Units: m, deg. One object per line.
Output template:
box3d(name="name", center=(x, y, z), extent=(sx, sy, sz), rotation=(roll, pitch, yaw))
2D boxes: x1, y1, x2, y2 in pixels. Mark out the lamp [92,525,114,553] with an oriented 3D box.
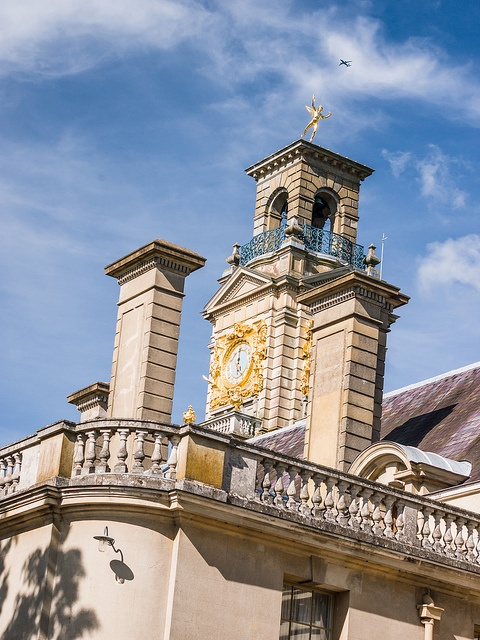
box3d(name="lamp", center=(-1.663, 2.684, 15.974), extent=(0.237, 0.295, 0.139), rotation=(6, 8, 35))
